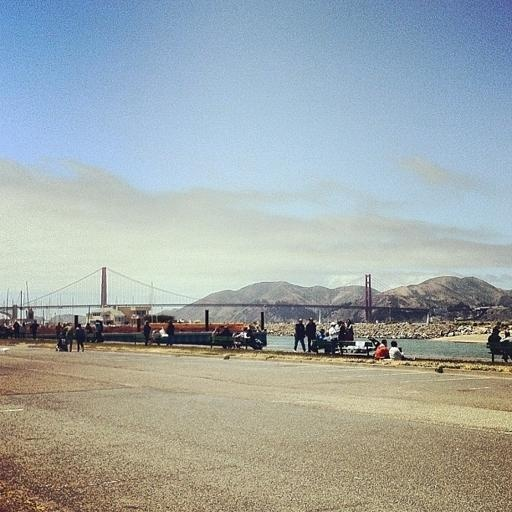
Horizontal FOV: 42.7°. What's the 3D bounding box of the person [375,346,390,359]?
[{"bbox_3d":[5.030,3.805,25.844,0.435,0.649,0.733,3,-6,-27],"label":"person"}]
